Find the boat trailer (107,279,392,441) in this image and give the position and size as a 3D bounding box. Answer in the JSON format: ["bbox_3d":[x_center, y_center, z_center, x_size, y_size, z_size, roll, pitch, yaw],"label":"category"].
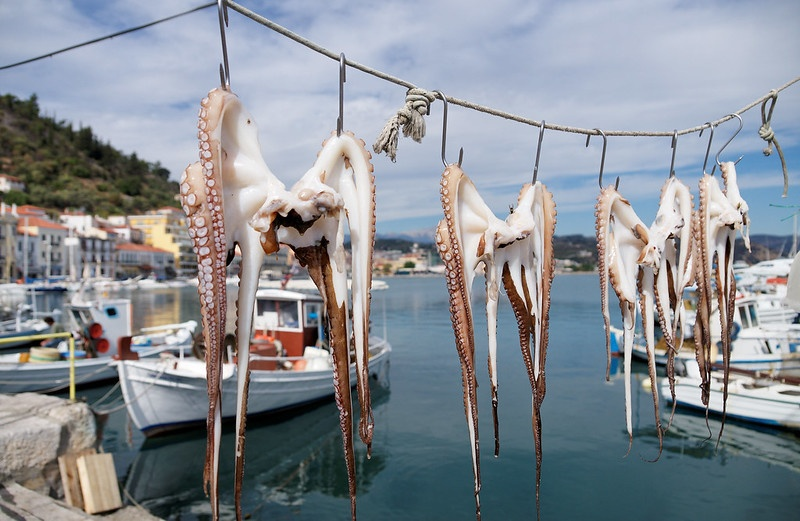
[{"bbox_3d":[-5.700,4.399,34.212,4.829,4.490,11.050,3,1,44],"label":"boat trailer"}]
